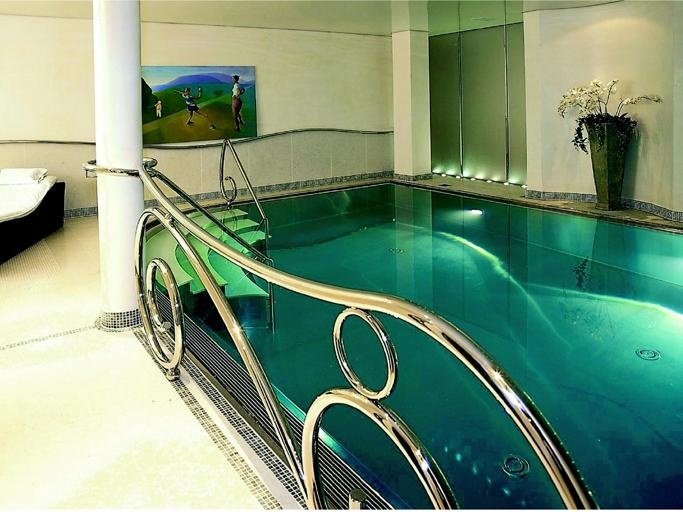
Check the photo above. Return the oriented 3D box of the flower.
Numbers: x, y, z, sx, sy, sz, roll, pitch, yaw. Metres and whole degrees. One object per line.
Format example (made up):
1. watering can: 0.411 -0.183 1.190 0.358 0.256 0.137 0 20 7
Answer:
1. flower: 4.495 -2.689 7.973 1.076 0.466 0.644 9 24 39
